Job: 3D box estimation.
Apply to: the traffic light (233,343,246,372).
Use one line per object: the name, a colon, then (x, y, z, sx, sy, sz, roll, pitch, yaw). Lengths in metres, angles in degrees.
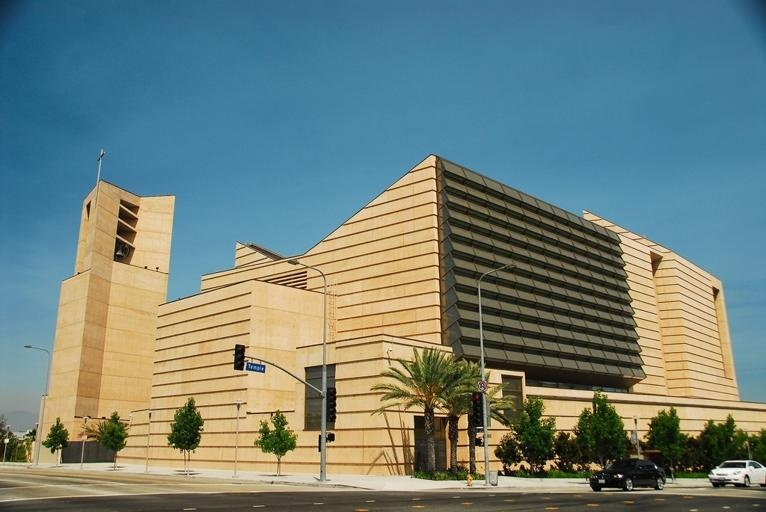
traffic light: (-12.248, 8.498, 52.702, 0.784, 2.262, 1.125, 10, -23, -22)

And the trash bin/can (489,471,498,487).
trash bin/can: (9.340, 18.744, 52.292, 1.068, 1.160, 0.622, 17, -26, -35)

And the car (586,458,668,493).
car: (19.905, 17.676, 50.254, 6.145, 2.621, 1.735, 10, -22, -21)

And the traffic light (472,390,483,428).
traffic light: (8.066, 12.744, 51.958, 0.849, 2.705, 0.798, -1, -21, 7)
